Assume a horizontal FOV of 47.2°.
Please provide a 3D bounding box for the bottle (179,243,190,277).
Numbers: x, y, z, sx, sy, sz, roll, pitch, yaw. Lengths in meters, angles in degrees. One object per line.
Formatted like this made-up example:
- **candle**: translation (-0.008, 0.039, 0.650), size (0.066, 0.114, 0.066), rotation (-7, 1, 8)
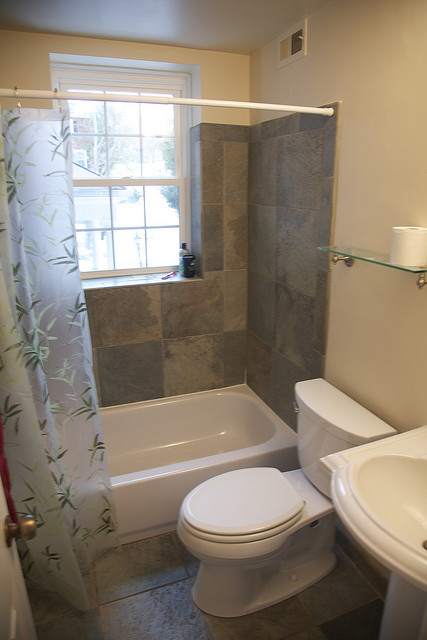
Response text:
- **bottle**: translation (-0.171, -0.354, 2.848), size (0.064, 0.186, 0.156), rotation (-2, 14, -3)

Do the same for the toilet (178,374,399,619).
- **toilet**: translation (0.214, 0.705, 1.870), size (0.714, 0.765, 0.440), rotation (-9, 25, -21)

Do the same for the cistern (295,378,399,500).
- **cistern**: translation (0.438, 0.453, 1.871), size (0.287, 0.350, 0.369), rotation (-2, 18, -15)
